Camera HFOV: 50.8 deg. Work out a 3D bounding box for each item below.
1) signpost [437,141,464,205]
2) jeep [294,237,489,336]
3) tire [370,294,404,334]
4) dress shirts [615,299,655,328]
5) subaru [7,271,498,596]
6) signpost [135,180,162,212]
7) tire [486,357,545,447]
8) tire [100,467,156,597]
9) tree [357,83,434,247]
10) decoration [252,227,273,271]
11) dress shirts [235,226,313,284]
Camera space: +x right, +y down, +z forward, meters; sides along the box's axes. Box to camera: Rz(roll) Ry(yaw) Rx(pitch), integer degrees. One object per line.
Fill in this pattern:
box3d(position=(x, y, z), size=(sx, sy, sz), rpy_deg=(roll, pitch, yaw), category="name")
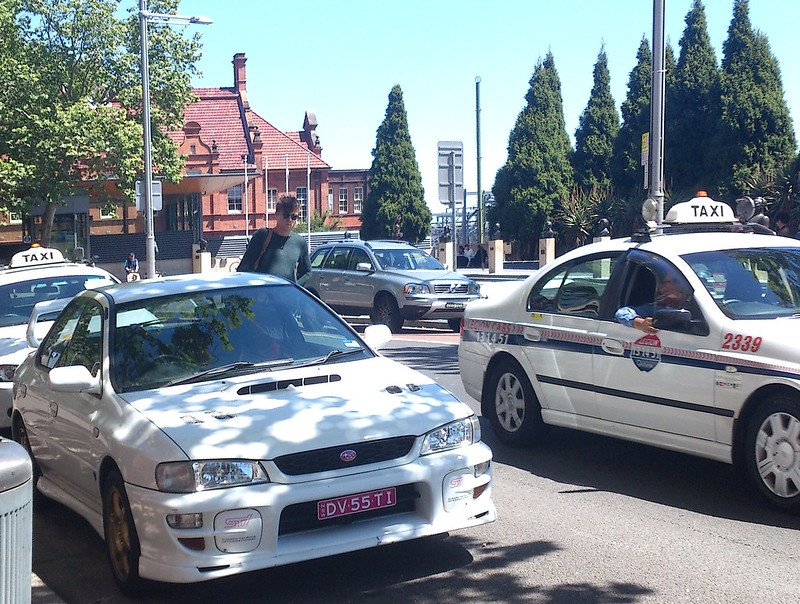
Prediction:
box3d(position=(1.002, -2.526, 16.500), size=(0.492, 1.253, 0.473), rpy_deg=(-1, 5, 1), category="signpost")
box3d(position=(-0.352, -0.393, 18.699), size=(1.806, 1.727, 3.978), rpy_deg=(2, 2, -36), category="jeep")
box3d(position=(-0.212, 0.180, 16.223), size=(0.250, 0.789, 0.696), rpy_deg=(3, 2, -39), category="tire")
box3d(position=(1.890, 0.098, 6.763), size=(0.239, 0.096, 0.198), rpy_deg=(-7, 21, 8), category="dress shirts")
box3d(position=(-1.129, 0.761, 5.614), size=(3.245, 1.773, 1.879), rpy_deg=(2, 6, 34), category="subaru")
box3d(position=(-7.872, -3.386, 26.603), size=(0.650, 0.965, 2.393), rpy_deg=(-3, 6, -13), category="signpost")
box3d(position=(1.084, 0.911, 7.736), size=(0.236, 0.809, 0.716), rpy_deg=(2, 3, -36), category="tire")
box3d(position=(-1.635, 1.376, 5.062), size=(0.177, 0.770, 0.583), rpy_deg=(-4, 6, -30), category="tire")
box3d(position=(-0.432, -10.697, 65.746), size=(4.772, 12.031, 2.474), rpy_deg=(-2, 5, -2), category="tree")
box3d(position=(-1.467, -0.570, 8.953), size=(0.083, 0.377, 0.256), rpy_deg=(25, 18, 17), category="decoration")
box3d(position=(-1.292, -0.345, 9.048), size=(0.795, 0.894, 0.469), rpy_deg=(6, 0, -18), category="dress shirts")
